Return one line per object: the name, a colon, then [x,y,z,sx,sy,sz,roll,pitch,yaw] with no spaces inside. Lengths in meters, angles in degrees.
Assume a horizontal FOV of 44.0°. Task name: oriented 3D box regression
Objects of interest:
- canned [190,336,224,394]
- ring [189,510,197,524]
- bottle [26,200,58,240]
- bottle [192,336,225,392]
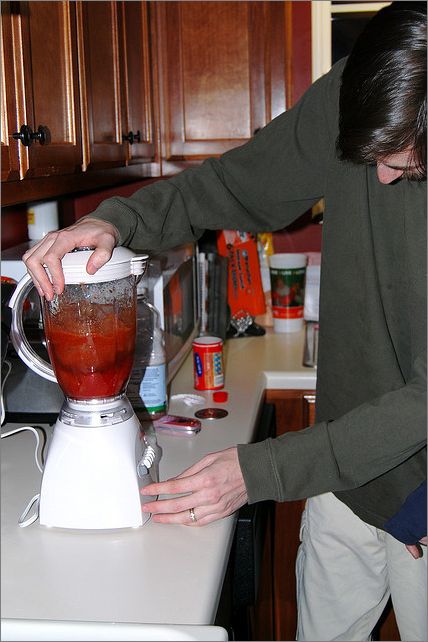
canned: [-0.012,0.114,1.356,0.079,0.121,0.079,-3,6,-8]
ring: [-0.028,0.258,0.697,0.004,0.015,0.015,-9,13,-23]
bottle: [-0.501,-0.291,1.523,0.066,0.110,0.071,0,26,0]
bottle: [-0.013,0.113,1.356,0.079,0.120,0.079,-3,5,0]
